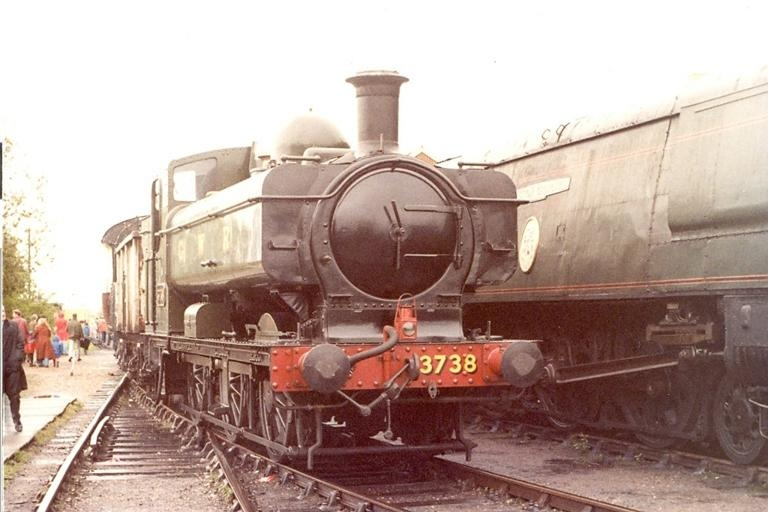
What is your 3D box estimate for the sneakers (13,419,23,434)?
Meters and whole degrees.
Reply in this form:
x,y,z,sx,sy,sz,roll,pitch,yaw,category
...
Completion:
x,y,z,sx,sy,sz,roll,pitch,yaw,category
-7.028,3.267,11.850,0.167,0.232,0.079,1,5,-11,sneakers
